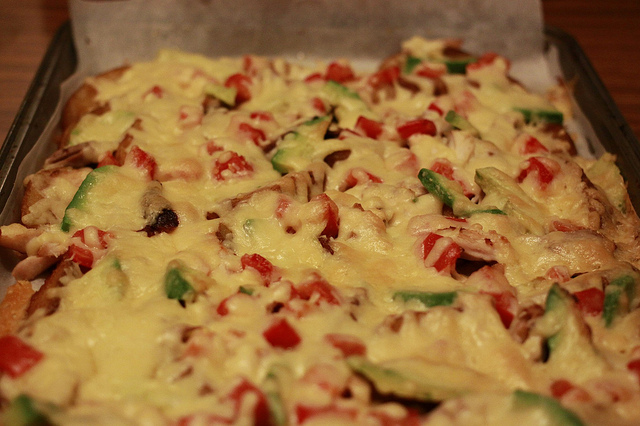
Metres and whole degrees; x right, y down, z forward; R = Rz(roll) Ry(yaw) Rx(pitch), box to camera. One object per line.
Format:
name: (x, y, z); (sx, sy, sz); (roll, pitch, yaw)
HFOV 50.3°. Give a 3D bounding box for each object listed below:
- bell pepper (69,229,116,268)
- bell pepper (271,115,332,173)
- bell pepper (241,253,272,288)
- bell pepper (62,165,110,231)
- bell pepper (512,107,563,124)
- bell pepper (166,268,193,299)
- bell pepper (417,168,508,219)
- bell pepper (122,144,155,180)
bell pepper: (-1.121, 0.189, 3.366); (0.197, 0.058, 0.188); (5, 66, -5)
bell pepper: (-0.109, -0.397, 3.902); (0.417, 0.259, 0.216); (-15, 22, -38)
bell pepper: (-0.308, 0.280, 3.327); (0.161, 0.040, 0.126); (44, 63, 13)
bell pepper: (-1.249, -0.079, 3.559); (0.196, 0.257, 0.386); (-10, 19, -22)
bell pepper: (1.391, -0.607, 4.344); (0.413, 0.091, 0.107); (5, 8, -6)
bell pepper: (-0.685, 0.341, 3.211); (0.101, 0.052, 0.142); (-37, 68, -20)
bell pepper: (0.735, -0.102, 3.661); (0.567, 0.237, 0.276); (-11, 26, -14)
bell pepper: (-0.986, -0.275, 3.719); (0.175, 0.050, 0.164); (31, 62, -7)
